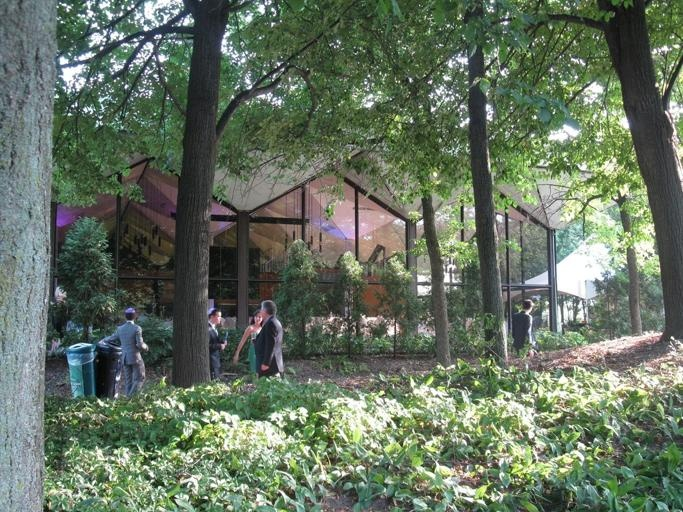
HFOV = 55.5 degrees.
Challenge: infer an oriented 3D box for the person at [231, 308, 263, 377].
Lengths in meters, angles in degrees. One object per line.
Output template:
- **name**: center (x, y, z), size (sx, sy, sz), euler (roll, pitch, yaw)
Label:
- **person**: center (-2.077, 1.921, 14.082), size (0.625, 2.202, 1.249), euler (4, -15, -6)

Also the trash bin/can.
- **trash bin/can**: center (-4.312, 1.972, 11.338), size (0.901, 0.995, 0.486), euler (2, -11, -25)

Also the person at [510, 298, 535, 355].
- **person**: center (3.850, 1.442, 13.770), size (0.470, 1.140, 2.053), euler (-6, -11, 15)

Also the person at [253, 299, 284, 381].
- **person**: center (-1.164, 1.282, 10.328), size (0.440, 1.293, 1.174), euler (-2, -11, -7)
